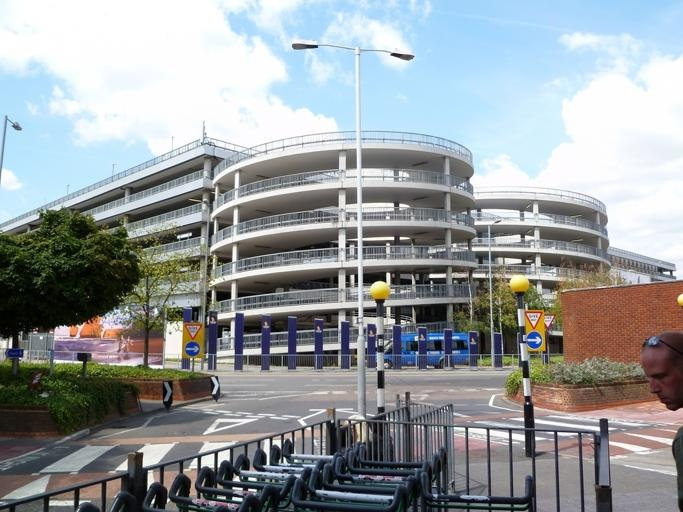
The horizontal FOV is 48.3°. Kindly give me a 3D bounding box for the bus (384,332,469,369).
[{"bbox_3d":[5.693,6.577,52.655,6.171,2.849,2.279,0,3,-2],"label":"bus"}]
